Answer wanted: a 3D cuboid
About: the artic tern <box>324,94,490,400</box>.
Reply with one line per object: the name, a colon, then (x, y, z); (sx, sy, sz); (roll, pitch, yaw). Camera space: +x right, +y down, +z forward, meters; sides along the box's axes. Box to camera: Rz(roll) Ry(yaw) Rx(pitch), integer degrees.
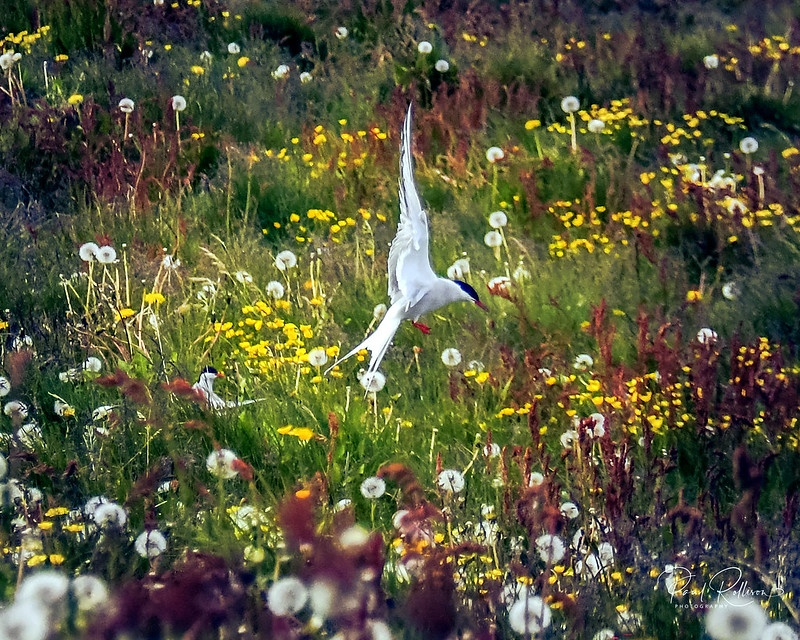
artic tern: (0.085, -0.619, 8.617); (0.985, 2.203, 0.647); (-4, 35, -6)
